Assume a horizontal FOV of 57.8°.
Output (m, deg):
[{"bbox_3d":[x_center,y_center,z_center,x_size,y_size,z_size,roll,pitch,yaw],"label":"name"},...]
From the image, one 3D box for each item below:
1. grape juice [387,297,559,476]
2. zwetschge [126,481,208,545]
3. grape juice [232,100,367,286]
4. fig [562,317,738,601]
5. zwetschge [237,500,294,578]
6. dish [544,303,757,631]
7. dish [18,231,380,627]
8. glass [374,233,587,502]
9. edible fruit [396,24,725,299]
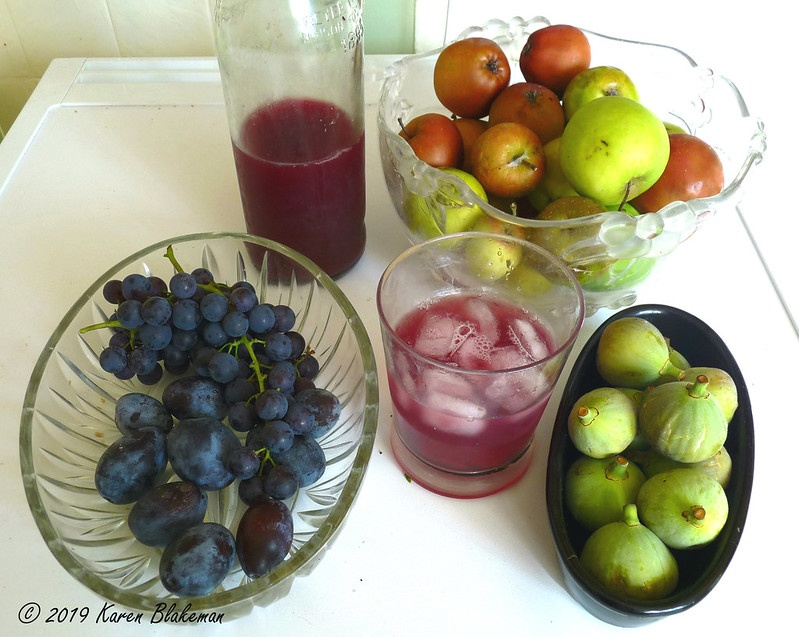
[{"bbox_3d":[0.070,0.035,0.718,0.142,0.129,0.179,-1,46,-3],"label":"grape juice"},{"bbox_3d":[-0.206,0.174,0.643,0.062,0.050,0.048,-30,60,2],"label":"zwetschge"},{"bbox_3d":[-0.103,-0.150,0.886,0.161,0.196,0.178,0,55,-4],"label":"grape juice"},{"bbox_3d":[0.249,0.140,0.754,0.141,0.106,0.262,26,73,9],"label":"fig"},{"bbox_3d":[-0.120,0.202,0.677,0.044,0.038,0.064,25,59,-10],"label":"zwetschge"},{"bbox_3d":[0.256,0.123,0.725,0.179,0.092,0.345,6,59,5],"label":"dish"},{"bbox_3d":[-0.232,0.116,0.813,0.333,0.160,0.397,0,59,-3],"label":"dish"},{"bbox_3d":[0.073,0.028,0.817,0.230,0.280,0.258,2,49,1],"label":"glass"},{"bbox_3d":[0.160,-0.134,0.907,0.323,0.194,0.332,-14,52,-15],"label":"edible fruit"}]
